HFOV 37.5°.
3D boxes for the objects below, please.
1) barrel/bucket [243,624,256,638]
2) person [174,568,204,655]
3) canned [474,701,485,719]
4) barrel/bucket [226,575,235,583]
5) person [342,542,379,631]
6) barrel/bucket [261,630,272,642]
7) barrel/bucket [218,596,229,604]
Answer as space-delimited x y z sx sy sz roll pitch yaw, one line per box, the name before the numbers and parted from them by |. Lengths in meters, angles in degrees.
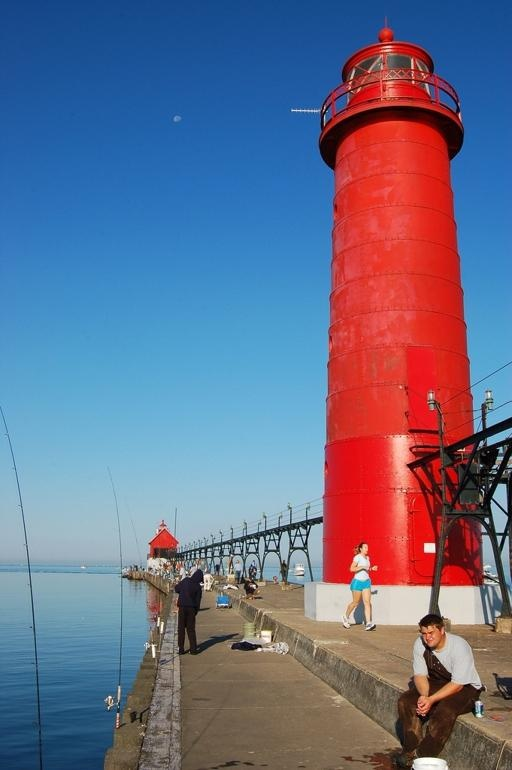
barrel/bucket | -0.119 4.256 13.088 0.205 0.223 0.214 0 -7 0
person | -1.087 3.571 12.056 0.398 1.257 0.383 4 -6 2
canned | 1.613 2.371 5.513 0.064 0.109 0.134 -5 -11 14
barrel/bucket | -1.048 7.912 30.788 0.345 0.361 0.358 2 -3 0
person | 1.838 3.443 12.923 0.594 1.731 0.673 1 -3 -6
barrel/bucket | 0.169 4.282 12.859 0.144 0.168 0.152 2 1 0
barrel/bucket | -1.003 6.531 22.830 0.270 0.198 0.270 2 0 0
